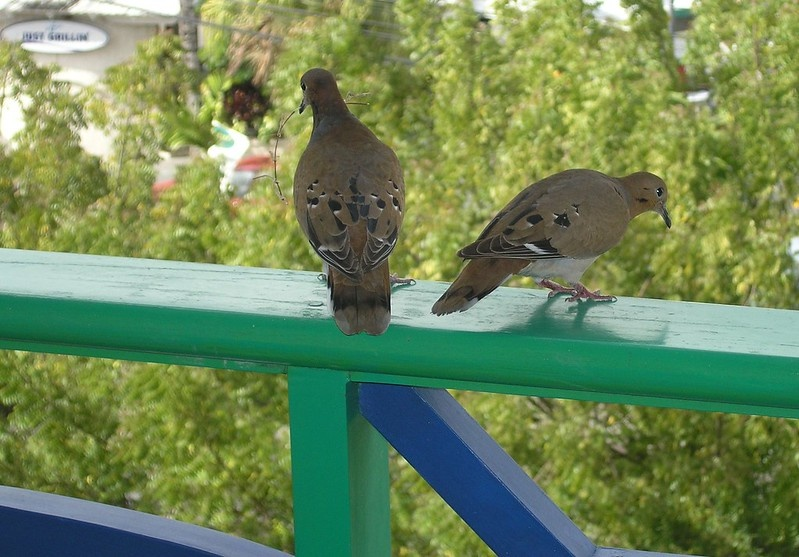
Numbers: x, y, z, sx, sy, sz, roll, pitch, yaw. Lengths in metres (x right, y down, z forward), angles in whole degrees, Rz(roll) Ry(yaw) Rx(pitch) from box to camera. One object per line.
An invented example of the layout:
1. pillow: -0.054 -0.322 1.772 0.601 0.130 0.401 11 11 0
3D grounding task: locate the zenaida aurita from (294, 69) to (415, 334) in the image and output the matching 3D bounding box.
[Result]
1. zenaida aurita: -0.264 -0.418 7.026 0.527 0.984 1.415 -5 48 2
